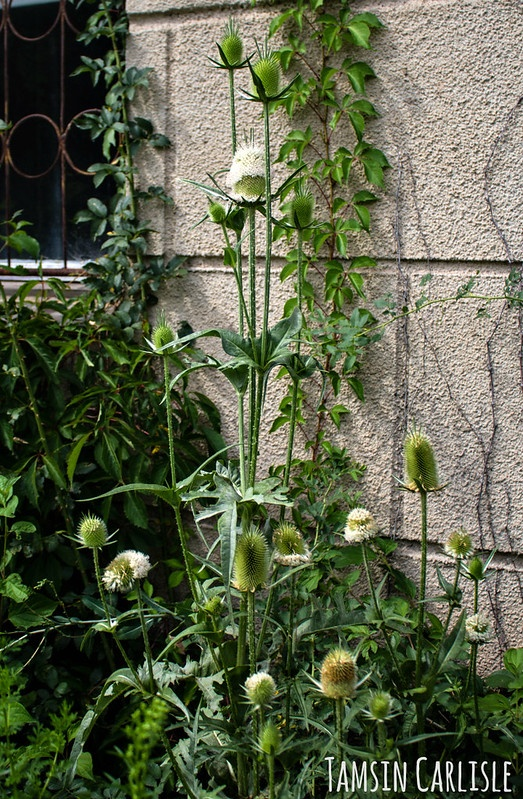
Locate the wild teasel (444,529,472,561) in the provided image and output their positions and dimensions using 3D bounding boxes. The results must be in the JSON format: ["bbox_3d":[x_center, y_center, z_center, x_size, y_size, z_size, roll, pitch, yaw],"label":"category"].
[{"bbox_3d":[0.508,0.381,3.032,0.065,0.078,0.118,2,-3,9],"label":"wild teasel"}]

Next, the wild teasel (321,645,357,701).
[{"bbox_3d":[0.175,0.641,2.674,0.081,0.117,0.087,2,-4,2],"label":"wild teasel"}]

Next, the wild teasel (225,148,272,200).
[{"bbox_3d":[-0.040,-0.579,2.942,0.088,0.179,0.152,3,-4,-11],"label":"wild teasel"}]

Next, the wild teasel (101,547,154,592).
[{"bbox_3d":[-0.342,0.421,2.891,0.121,0.069,0.116,-30,20,-19],"label":"wild teasel"}]

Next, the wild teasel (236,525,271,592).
[{"bbox_3d":[-0.040,0.391,2.823,0.102,0.147,0.092,11,-8,1],"label":"wild teasel"}]

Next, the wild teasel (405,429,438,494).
[{"bbox_3d":[0.398,0.157,2.919,0.080,0.153,0.153,2,-4,7],"label":"wild teasel"}]

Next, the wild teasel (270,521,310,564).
[{"bbox_3d":[0.071,0.371,2.975,0.101,0.093,0.063,-9,-16,-27],"label":"wild teasel"}]

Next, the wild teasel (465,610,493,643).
[{"bbox_3d":[0.558,0.601,3.042,0.083,0.080,0.077,-8,2,-3],"label":"wild teasel"}]

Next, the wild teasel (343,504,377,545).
[{"bbox_3d":[0.253,0.328,2.992,0.070,0.088,0.094,2,-4,9],"label":"wild teasel"}]
